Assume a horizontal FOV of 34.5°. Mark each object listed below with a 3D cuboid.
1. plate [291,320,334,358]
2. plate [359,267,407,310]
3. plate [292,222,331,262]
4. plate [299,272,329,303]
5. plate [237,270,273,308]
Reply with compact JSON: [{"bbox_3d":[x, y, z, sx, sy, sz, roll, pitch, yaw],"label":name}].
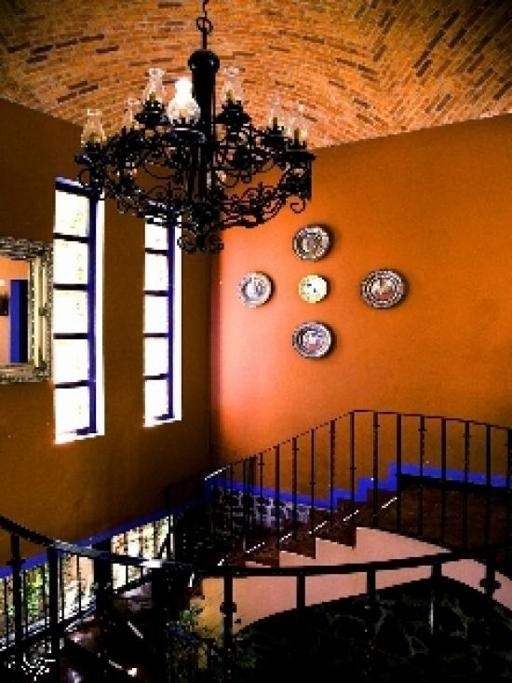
[{"bbox_3d":[0.572,-0.002,8.161,0.437,0.371,0.099,-5,-5,37],"label":"plate"},{"bbox_3d":[1.180,-0.485,7.741,0.410,0.360,0.134,6,4,29],"label":"plate"},{"bbox_3d":[0.561,-0.976,8.143,0.288,0.384,0.147,0,6,28],"label":"plate"},{"bbox_3d":[0.581,-0.512,8.170,0.314,0.280,0.064,-5,-5,38],"label":"plate"},{"bbox_3d":[0.000,-0.539,8.533,0.358,0.350,0.087,2,5,33],"label":"plate"}]
